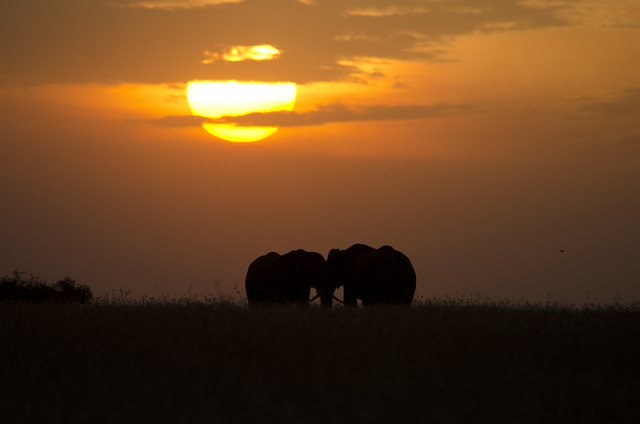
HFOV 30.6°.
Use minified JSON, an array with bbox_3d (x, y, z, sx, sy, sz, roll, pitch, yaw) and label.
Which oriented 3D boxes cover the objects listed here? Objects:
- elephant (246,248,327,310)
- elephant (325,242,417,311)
[{"bbox_3d":[-1.235,2.209,40.642,1.323,2.126,3.508,16,-20,-42],"label":"elephant"},{"bbox_3d":[1.443,2.095,38.531,4.239,2.197,1.587,2,13,40],"label":"elephant"}]
